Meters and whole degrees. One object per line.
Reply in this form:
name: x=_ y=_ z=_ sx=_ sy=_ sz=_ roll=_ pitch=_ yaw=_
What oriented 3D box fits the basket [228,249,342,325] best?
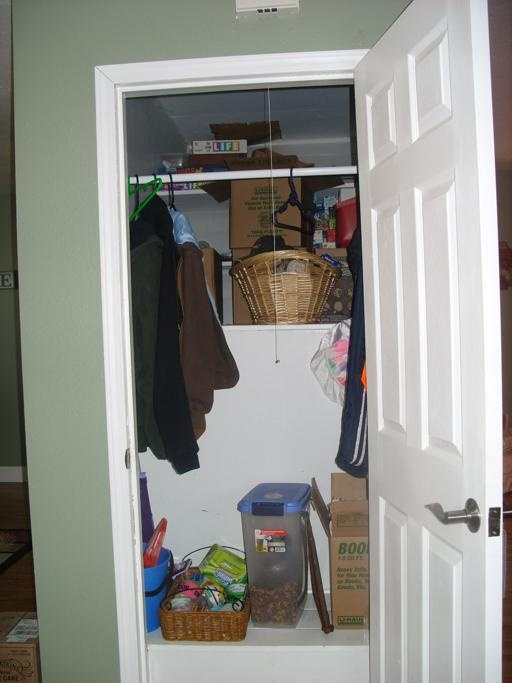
basket: x=0.099 y=-0.175 z=2.223 sx=0.253 sy=0.196 sz=0.292 roll=-1 pitch=-23 yaw=3

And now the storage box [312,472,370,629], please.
storage box: x=0.275 y=0.692 z=2.104 sx=0.189 sy=0.440 sz=0.252 roll=0 pitch=0 yaw=8

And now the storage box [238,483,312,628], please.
storage box: x=0.066 y=0.723 z=2.144 sx=0.231 sy=0.417 sz=0.255 roll=0 pitch=0 yaw=8

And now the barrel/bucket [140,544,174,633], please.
barrel/bucket: x=-0.334 y=0.846 z=2.164 sx=0.140 sy=0.249 sz=0.173 roll=-1 pitch=2 yaw=-26

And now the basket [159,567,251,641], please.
basket: x=-0.164 y=0.893 z=2.071 sx=0.276 sy=0.188 sz=0.260 roll=0 pitch=0 yaw=3

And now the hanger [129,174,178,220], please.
hanger: x=-0.374 y=-0.501 z=2.227 sx=0.152 sy=0.166 sz=0.276 roll=0 pitch=0 yaw=-10
